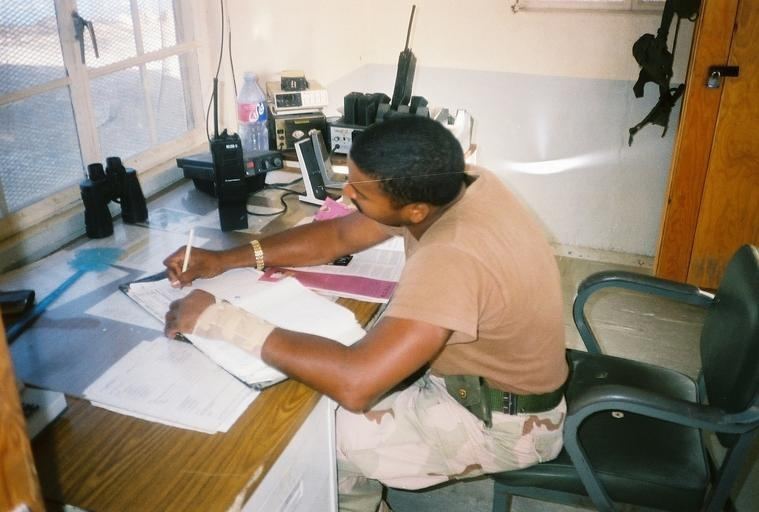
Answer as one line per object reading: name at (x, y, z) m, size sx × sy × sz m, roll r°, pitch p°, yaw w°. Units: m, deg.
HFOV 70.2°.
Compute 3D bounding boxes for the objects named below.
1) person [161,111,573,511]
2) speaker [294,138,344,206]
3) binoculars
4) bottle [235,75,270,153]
person at (0.084, 0.166, 1.615) m, size 0.865 × 1.177 × 0.801 m, roll 7°, pitch 26°, yaw 15°
speaker at (-0.238, -0.310, 2.036) m, size 0.139 × 0.220 × 0.237 m, roll 7°, pitch 28°, yaw 7°
binoculars at (-0.916, -0.194, 1.809) m, size 0.098 × 0.252 × 0.259 m, roll 14°, pitch 23°, yaw 34°
bottle at (-0.546, -0.635, 2.399) m, size 0.176 × 0.413 × 0.174 m, roll 3°, pitch 28°, yaw -2°
